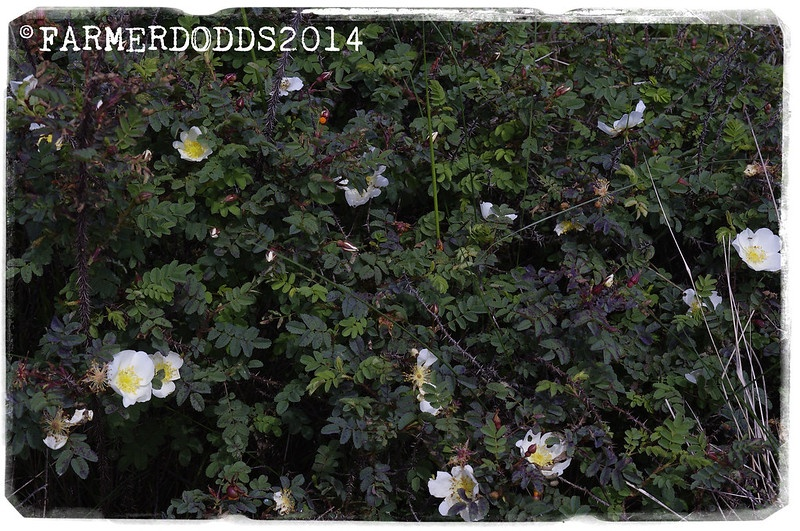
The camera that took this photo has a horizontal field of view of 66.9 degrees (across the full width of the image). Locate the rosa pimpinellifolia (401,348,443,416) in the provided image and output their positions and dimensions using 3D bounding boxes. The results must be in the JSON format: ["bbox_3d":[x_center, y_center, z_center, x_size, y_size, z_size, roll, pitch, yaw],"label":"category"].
[{"bbox_3d":[0.107,0.484,2.485,0.121,0.223,0.209,-5,30,-28],"label":"rosa pimpinellifolia"}]

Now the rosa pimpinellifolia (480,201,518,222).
[{"bbox_3d":[0.433,-0.233,2.703,0.163,0.069,0.073,13,26,3],"label":"rosa pimpinellifolia"}]

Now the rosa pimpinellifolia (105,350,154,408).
[{"bbox_3d":[-1.102,0.500,2.461,0.179,0.297,0.157,-4,30,-28],"label":"rosa pimpinellifolia"}]

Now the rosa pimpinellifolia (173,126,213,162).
[{"bbox_3d":[-0.876,-0.500,2.531,0.166,0.145,0.073,7,26,-8],"label":"rosa pimpinellifolia"}]

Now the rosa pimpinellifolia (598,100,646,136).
[{"bbox_3d":[1.012,-0.660,2.740,0.225,0.170,0.059,3,27,-16],"label":"rosa pimpinellifolia"}]

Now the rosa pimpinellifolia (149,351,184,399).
[{"bbox_3d":[-0.972,0.447,2.480,0.146,0.172,0.074,18,-20,-36],"label":"rosa pimpinellifolia"}]

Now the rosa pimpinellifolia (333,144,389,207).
[{"bbox_3d":[-0.154,-0.373,2.644,0.173,0.325,0.282,17,27,14],"label":"rosa pimpinellifolia"}]
